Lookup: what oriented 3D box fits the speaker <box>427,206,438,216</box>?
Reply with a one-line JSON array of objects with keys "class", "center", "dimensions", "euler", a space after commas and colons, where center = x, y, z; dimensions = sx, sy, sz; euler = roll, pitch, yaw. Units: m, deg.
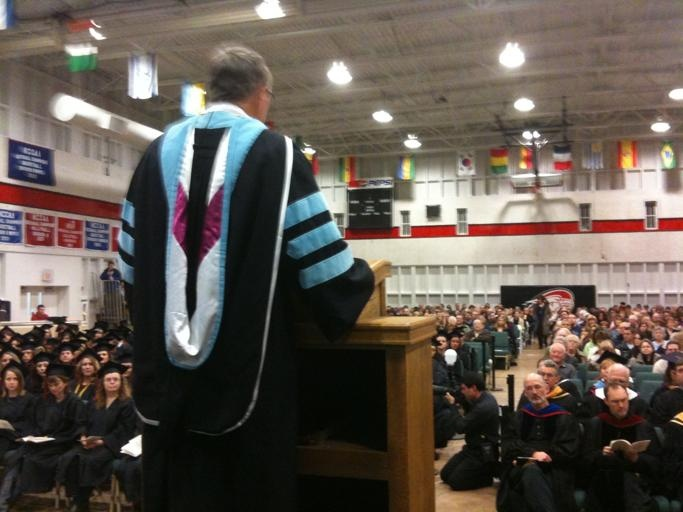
[{"class": "speaker", "center": [4.187, -2.060, 31.012], "dimensions": [0.623, 0.514, 0.204], "euler": [-2, -3, 20]}]

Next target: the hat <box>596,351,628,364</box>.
[{"class": "hat", "center": [4.895, 1.777, 12.265], "dimensions": [0.417, 0.124, 0.450], "euler": [7, 0, -6]}]
